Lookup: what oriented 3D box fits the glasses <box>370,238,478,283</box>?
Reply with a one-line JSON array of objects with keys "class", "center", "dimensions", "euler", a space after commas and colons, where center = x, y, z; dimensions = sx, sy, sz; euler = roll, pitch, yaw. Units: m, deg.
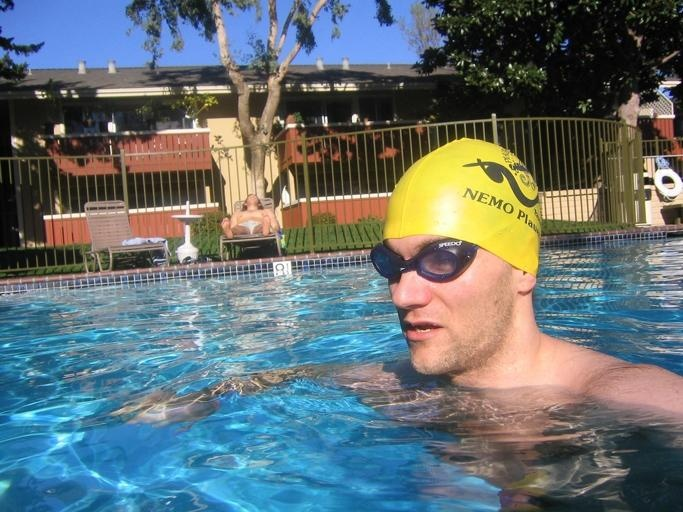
[{"class": "glasses", "center": [0.271, 0.017, 2.014], "dimensions": [0.428, 0.153, 0.188], "euler": [1, 7, 44]}]

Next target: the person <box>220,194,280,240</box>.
[{"class": "person", "center": [-1.686, -0.722, 10.229], "dimensions": [0.721, 0.512, 1.303], "euler": [-6, 3, 2]}]

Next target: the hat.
[{"class": "hat", "center": [0.487, -0.213, 2.207], "dimensions": [0.648, 0.492, 0.481], "euler": [28, -17, -38]}]

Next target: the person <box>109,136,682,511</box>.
[{"class": "person", "center": [0.475, 0.101, 2.394], "dimensions": [0.972, 1.178, 1.634], "euler": [-8, 6, -27]}]
